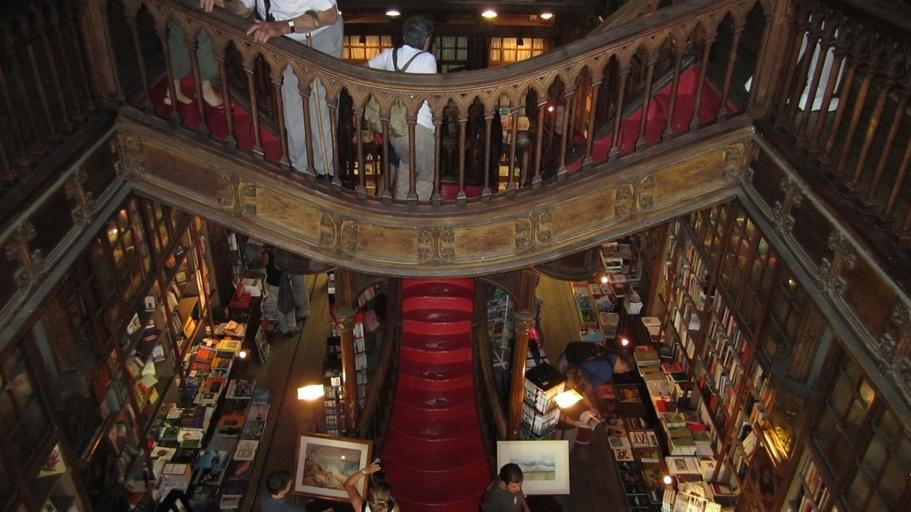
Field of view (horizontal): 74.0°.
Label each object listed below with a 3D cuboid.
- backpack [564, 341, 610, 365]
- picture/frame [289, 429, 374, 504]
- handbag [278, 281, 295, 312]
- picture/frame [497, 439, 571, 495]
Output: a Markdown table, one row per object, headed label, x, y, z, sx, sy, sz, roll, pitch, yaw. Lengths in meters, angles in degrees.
| label | x | y | z | sx | sy | sz | roll | pitch | yaw |
| --- | --- | --- | --- | --- | --- | --- | --- | --- | --- |
| backpack | 2.091 | 1.537 | 9.709 | 0.522 | 0.193 | 0.388 | -3 | 2 | -2 |
| picture/frame | -1.620 | 2.815 | 8.010 | 1.298 | 1.030 | 0.102 | 3 | 4 | 5 |
| handbag | -3.066 | 0.729 | 10.900 | 0.272 | 0.247 | 0.567 | 2 | -37 | -10 |
| picture/frame | 1.002 | 2.734 | 7.822 | 0.784 | 0.529 | 0.082 | 0 | -1 | -3 |
